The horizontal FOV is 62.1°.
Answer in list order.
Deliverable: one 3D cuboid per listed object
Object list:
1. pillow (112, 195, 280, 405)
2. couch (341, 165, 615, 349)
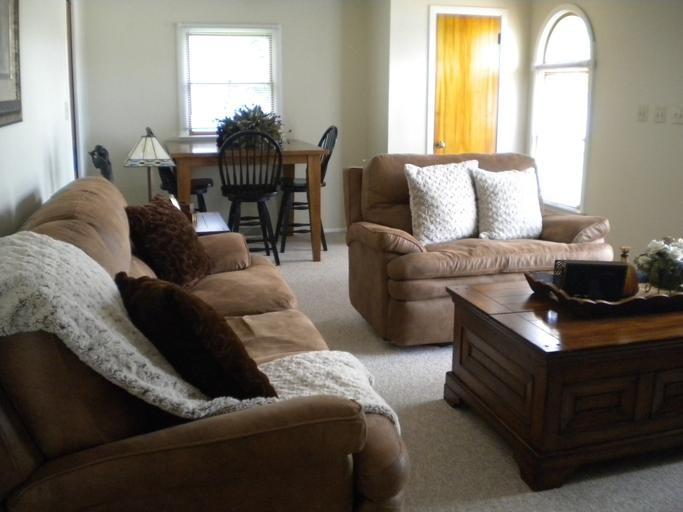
[{"bbox_3d":[-0.555,0.146,2.145,0.303,0.365,0.874,-6,27,-22],"label":"pillow"},{"bbox_3d":[0.650,0.025,3.515,1.520,1.112,1.117,-3,10,-18],"label":"couch"}]
